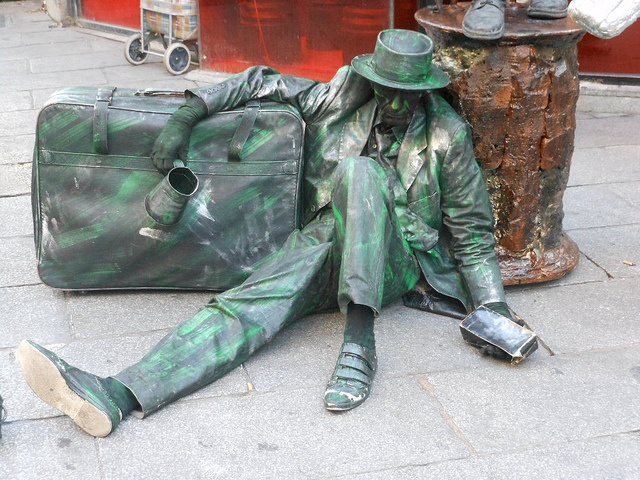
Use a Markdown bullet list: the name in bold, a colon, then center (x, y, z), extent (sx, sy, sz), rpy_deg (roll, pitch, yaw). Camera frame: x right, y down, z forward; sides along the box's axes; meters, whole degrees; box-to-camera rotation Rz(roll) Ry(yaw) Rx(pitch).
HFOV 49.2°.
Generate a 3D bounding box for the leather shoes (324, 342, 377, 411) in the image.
- **leather shoes**: center (0.141, 0.632, 3.216), extent (0.179, 0.198, 0.289), rpy_deg (10, 30, 11)

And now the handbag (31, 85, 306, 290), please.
- **handbag**: center (-0.819, -0.297, 3.752), extent (1.184, 0.779, 0.446), rpy_deg (1, 22, -4)

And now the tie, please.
- **tie**: center (0.408, -0.282, 3.774), extent (0.305, 0.690, 0.193), rpy_deg (-21, 6, -12)

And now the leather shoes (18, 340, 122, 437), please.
- **leather shoes**: center (-1.115, 0.680, 3.078), extent (0.383, 0.138, 0.267), rpy_deg (41, 19, 2)

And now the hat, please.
- **hat**: center (0.401, -0.847, 3.504), extent (0.408, 0.138, 0.392), rpy_deg (-20, 48, -37)
